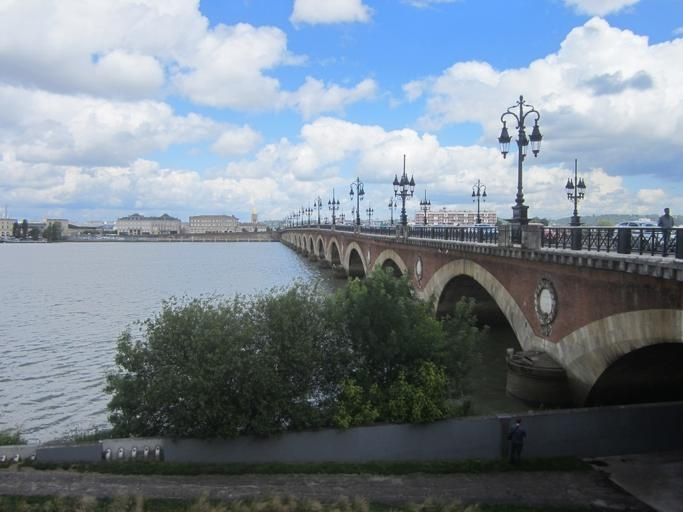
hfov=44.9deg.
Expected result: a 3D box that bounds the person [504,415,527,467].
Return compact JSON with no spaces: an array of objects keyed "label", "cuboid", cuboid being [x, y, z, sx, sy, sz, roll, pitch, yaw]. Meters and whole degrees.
[{"label":"person","cuboid":[7.348,7.734,34.826,0.745,1.838,0.796,1,9,13]}]
